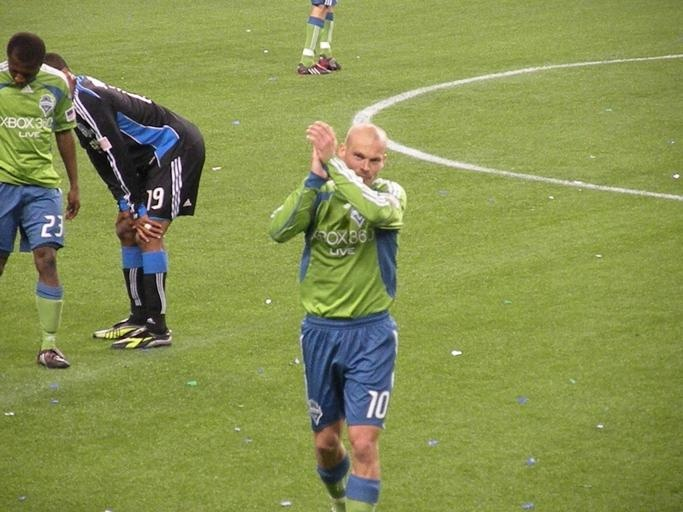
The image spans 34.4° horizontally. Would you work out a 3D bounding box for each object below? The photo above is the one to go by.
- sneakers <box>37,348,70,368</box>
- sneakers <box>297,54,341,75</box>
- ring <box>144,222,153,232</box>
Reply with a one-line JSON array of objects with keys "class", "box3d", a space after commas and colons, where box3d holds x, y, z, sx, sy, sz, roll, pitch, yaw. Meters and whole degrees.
[{"class": "sneakers", "box3d": [-2.233, 0.781, 8.536, 0.259, 0.096, 0.128, 7, 9, 34]}, {"class": "sneakers", "box3d": [-0.337, -2.746, 15.729, 0.512, 0.189, 0.293, -14, 19, -32]}, {"class": "ring", "box3d": [-1.557, -0.238, 8.808, 0.080, 0.069, 0.018, 0, 5, 1]}]
